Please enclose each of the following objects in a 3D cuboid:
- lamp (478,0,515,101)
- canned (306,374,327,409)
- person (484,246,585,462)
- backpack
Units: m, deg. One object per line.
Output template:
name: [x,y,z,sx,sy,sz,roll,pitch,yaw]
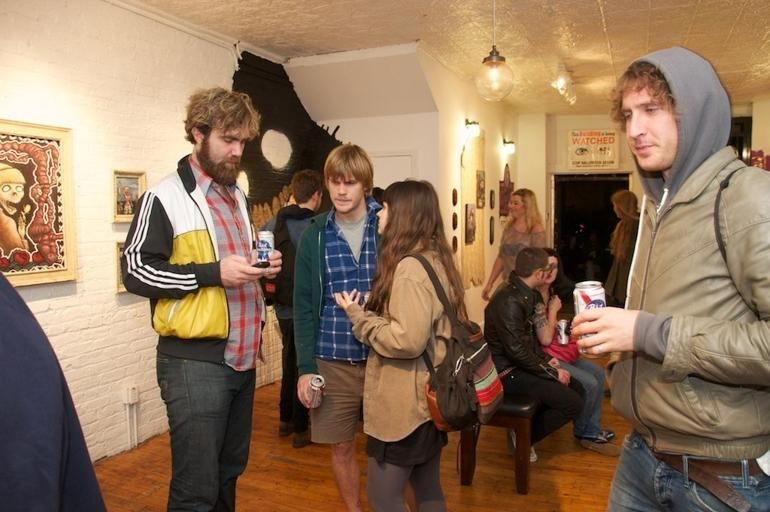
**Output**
lamp: [1.028,-1.807,4.742,0.284,0.841,0.999,0,6,14]
canned: [-0.371,0.758,2.845,0.096,0.216,0.124,-3,6,-8]
person: [1.164,0.748,3.943,0.836,1.521,0.681,4,4,28]
backpack: [0.348,0.430,2.505,0.444,0.872,0.280,-2,6,2]
